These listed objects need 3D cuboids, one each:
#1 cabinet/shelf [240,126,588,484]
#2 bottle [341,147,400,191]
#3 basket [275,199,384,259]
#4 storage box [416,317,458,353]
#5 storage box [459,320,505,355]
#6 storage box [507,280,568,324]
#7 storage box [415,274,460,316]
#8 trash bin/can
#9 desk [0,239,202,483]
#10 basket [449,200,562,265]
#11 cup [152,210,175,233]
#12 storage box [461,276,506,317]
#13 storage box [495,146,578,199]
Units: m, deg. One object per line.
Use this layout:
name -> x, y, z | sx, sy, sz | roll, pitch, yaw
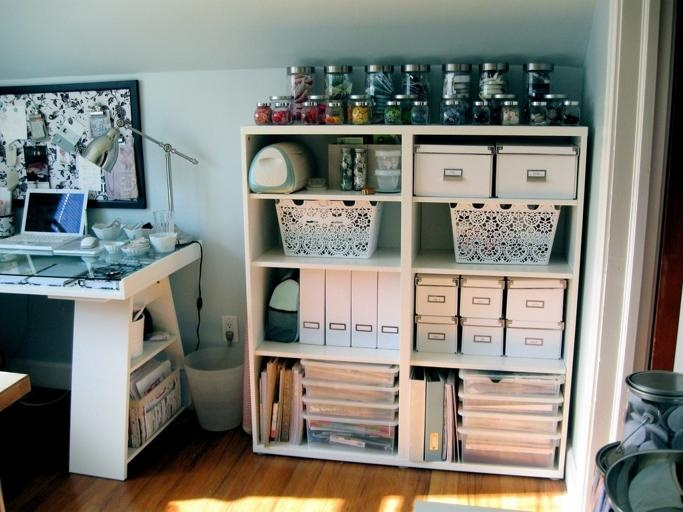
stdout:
cabinet/shelf -> 0.348, 0.225, 2.518 | 1.402, 1.507, 0.425 | 1, 10, 9
bottle -> 0.123, -0.370, 2.515 | 0.262, 0.197, 0.153 | -1, 11, 4
basket -> -0.065, -0.139, 2.582 | 0.384, 0.229, 0.262 | 1, 10, 9
storage box -> 0.417, 0.342, 2.560 | 0.156, 0.126, 0.164 | 2, 12, 10
storage box -> 0.614, 0.357, 2.532 | 0.156, 0.122, 0.161 | 2, 11, 11
storage box -> 0.813, 0.190, 2.464 | 0.193, 0.153, 0.199 | 3, 10, 13
storage box -> 0.415, 0.168, 2.529 | 0.172, 0.175, 0.179 | 2, 11, 13
trash bin/can -> -0.595, 0.633, 2.949 | 0.352, 0.331, 0.331 | -5, 11, -15
desk -> -1.033, 0.383, 2.885 | 0.869, 0.967, 1.125 | 3, 15, 6
basket -> 0.689, -0.091, 2.468 | 0.392, 0.260, 0.260 | 2, 14, 10
cup -> -0.840, -0.161, 2.781 | 0.097, 0.113, 0.100 | 0, 16, 0
storage box -> 0.605, 0.179, 2.500 | 0.170, 0.176, 0.174 | 2, 13, 10
storage box -> 0.768, -0.331, 2.259 | 0.233, 0.151, 0.245 | 1, 13, 8
